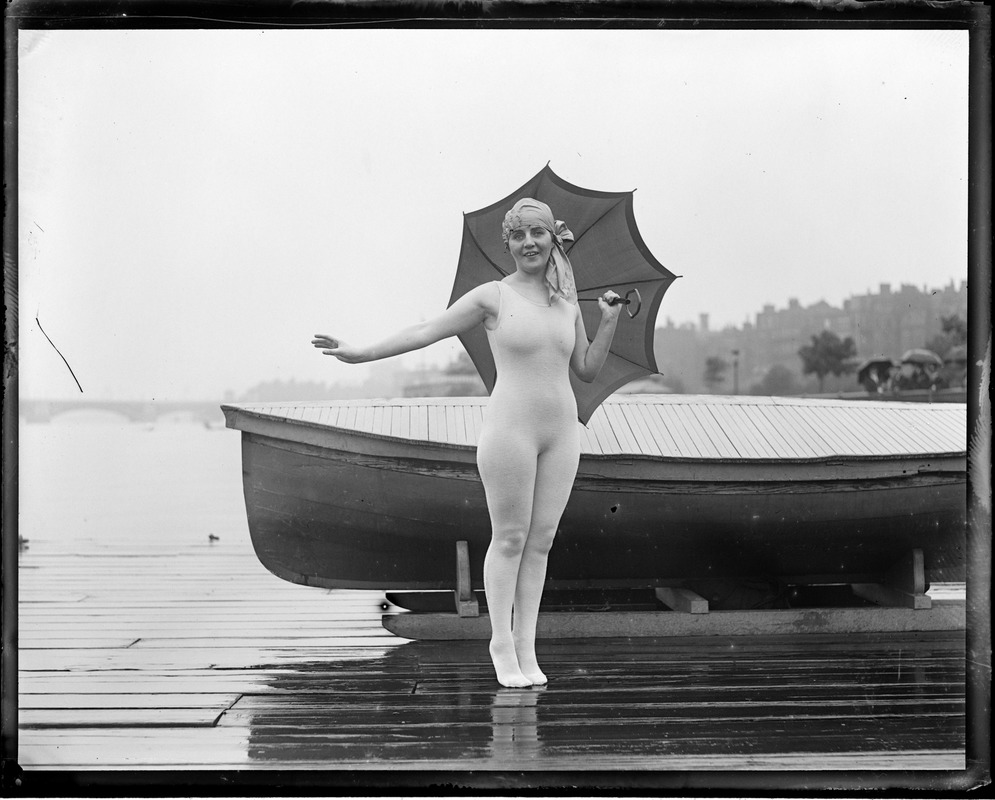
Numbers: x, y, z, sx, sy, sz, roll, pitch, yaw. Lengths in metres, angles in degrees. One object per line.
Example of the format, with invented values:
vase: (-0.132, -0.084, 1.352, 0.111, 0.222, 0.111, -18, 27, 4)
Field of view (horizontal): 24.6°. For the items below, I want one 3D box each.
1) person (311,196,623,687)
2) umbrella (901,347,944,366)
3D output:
person: (0.016, 0.149, 7.773, 0.769, 1.616, 0.430, -8, 14, -32)
umbrella: (2.160, -0.215, 11.698, 0.206, 0.098, 0.165, 2, 12, 12)
